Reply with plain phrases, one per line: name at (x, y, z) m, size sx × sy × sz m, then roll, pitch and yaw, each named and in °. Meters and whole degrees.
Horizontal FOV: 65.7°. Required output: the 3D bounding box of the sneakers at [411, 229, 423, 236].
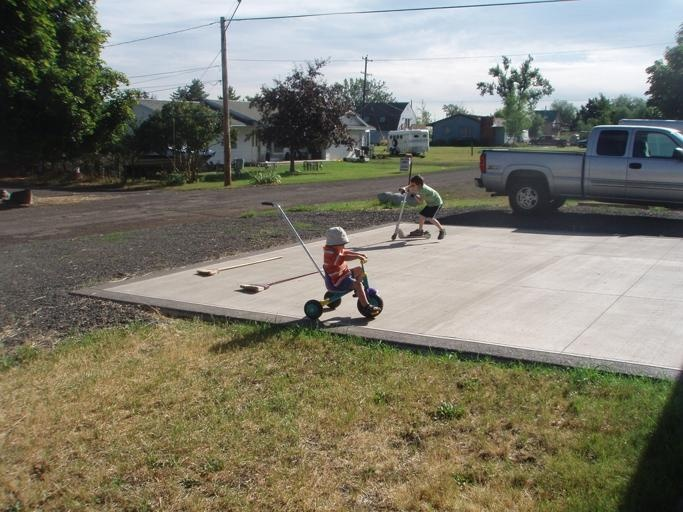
sneakers at (1.662, -0.499, 11.730) m, size 0.228 × 0.097 × 0.130 m, roll 2°, pitch 1°, yaw -15°

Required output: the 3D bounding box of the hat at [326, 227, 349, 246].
hat at (-0.065, -0.229, 6.714) m, size 0.252 × 0.304 × 0.427 m, roll -2°, pitch 14°, yaw 1°

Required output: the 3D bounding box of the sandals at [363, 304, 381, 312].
sandals at (0.393, 0.679, 6.724) m, size 0.224 × 0.094 × 0.082 m, roll 1°, pitch 36°, yaw 5°

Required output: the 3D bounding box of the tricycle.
tricycle at (-0.230, 0.040, 6.876) m, size 1.643 × 1.485 × 0.758 m, roll 6°, pitch 15°, yaw 17°

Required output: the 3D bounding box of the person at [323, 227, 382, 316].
person at (0.087, 0.170, 6.797) m, size 0.599 × 1.102 × 0.732 m, roll -9°, pitch 19°, yaw -10°

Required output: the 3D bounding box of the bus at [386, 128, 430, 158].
bus at (9.165, -14.676, 68.455) m, size 5.798 × 3.230 × 11.954 m, roll -8°, pitch 15°, yaw -21°

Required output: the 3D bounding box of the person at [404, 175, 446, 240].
person at (2.031, -1.255, 12.619) m, size 0.895 × 1.501 × 3.199 m, roll 0°, pitch 14°, yaw 11°
